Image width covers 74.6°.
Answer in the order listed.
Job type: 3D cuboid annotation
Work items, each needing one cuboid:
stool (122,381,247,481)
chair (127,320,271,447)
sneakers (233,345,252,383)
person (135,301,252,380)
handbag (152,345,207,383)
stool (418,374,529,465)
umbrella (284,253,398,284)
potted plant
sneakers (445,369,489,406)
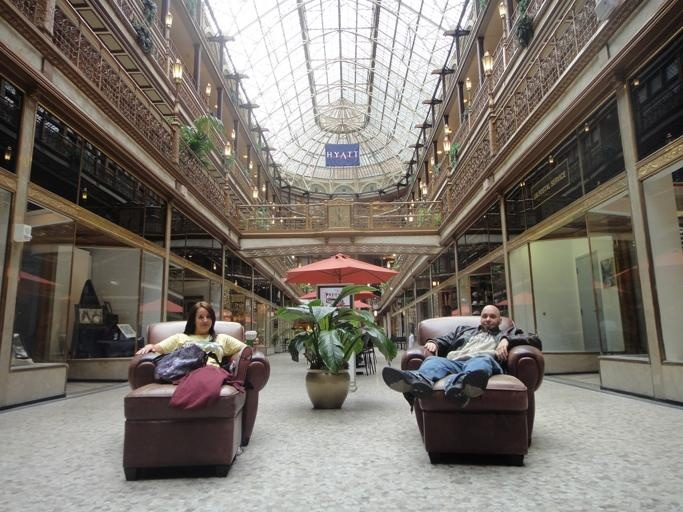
[{"bbox_3d":[-1.191,1.364,3.701,1.143,0.624,1.124,6,-12,-39],"label":"stool"},{"bbox_3d":[-1.381,1.144,4.217,1.283,1.156,1.390,7,-14,-35],"label":"chair"},{"bbox_3d":[-0.839,0.922,3.783,0.156,0.270,0.328,0,-5,-11],"label":"sneakers"},{"bbox_3d":[-1.335,0.760,4.142,1.043,0.717,0.565,1,-18,-9],"label":"person"},{"bbox_3d":[-1.341,0.894,3.721,0.353,0.125,0.283,-19,30,-15],"label":"handbag"},{"bbox_3d":[1.101,1.298,3.768,0.715,0.594,0.702,-1,-12,5],"label":"stool"},{"bbox_3d":[0.020,0.281,9.672,1.917,0.612,1.873,4,-7,-45],"label":"umbrella"},{"bbox_3d":[-0.173,1.144,5.689,1.294,1.584,1.460,1,-5,-16],"label":"potted plant"},{"bbox_3d":[0.936,1.007,3.460,0.408,0.192,0.178,-22,-1,31],"label":"sneakers"}]
